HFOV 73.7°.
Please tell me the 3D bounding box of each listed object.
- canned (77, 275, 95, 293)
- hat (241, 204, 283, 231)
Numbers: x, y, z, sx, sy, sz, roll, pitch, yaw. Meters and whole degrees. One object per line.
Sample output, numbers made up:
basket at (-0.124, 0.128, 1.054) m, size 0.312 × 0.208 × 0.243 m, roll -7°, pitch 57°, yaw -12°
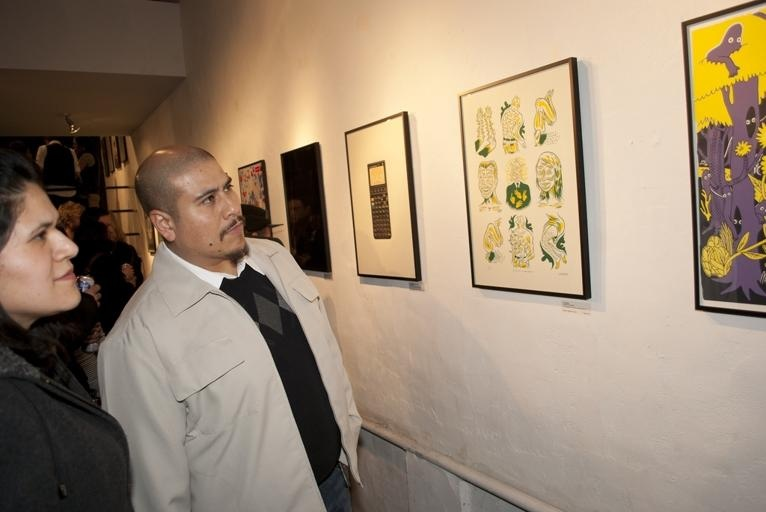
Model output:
canned at (-1.413, 0.134, 2.434) m, size 0.058 × 0.066 × 0.067 m, roll -6°, pitch 19°, yaw -30°
hat at (-0.980, -0.306, 4.019) m, size 0.170 × 0.165 × 0.229 m, roll 1°, pitch -3°, yaw 35°
